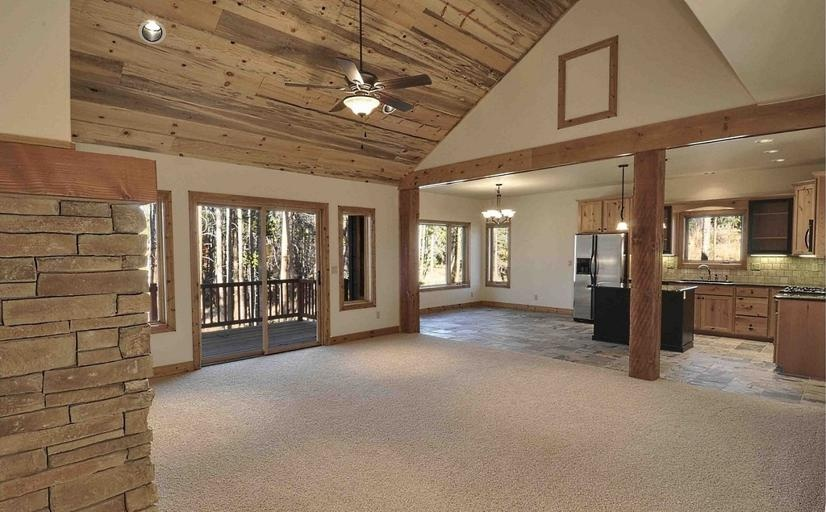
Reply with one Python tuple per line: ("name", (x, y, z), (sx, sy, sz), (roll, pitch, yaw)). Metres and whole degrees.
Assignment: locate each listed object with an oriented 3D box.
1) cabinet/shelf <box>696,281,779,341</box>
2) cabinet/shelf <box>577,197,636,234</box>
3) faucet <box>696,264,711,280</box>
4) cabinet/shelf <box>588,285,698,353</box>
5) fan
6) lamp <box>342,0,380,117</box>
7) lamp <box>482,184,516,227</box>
("cabinet/shelf", (6.073, 0.976, 9.526), (1.762, 1.330, 0.921), (0, -1, 41))
("cabinet/shelf", (4.099, -0.846, 10.385), (0.499, 0.859, 1.151), (2, 0, -37))
("faucet", (5.788, 0.297, 9.815), (0.087, 0.294, 0.273), (-7, 13, -25))
("cabinet/shelf", (4.076, 0.953, 8.763), (2.009, 1.335, 1.103), (2, 4, 38))
("fan", (-0.736, -2.525, 6.259), (1.498, 1.577, 1.475), (6, -10, -30))
("lamp", (-0.622, -2.329, 5.745), (0.448, 1.400, 1.442), (-2, 11, -7))
("lamp", (2.021, -1.164, 11.328), (0.926, 0.985, 0.864), (0, 2, -1))
